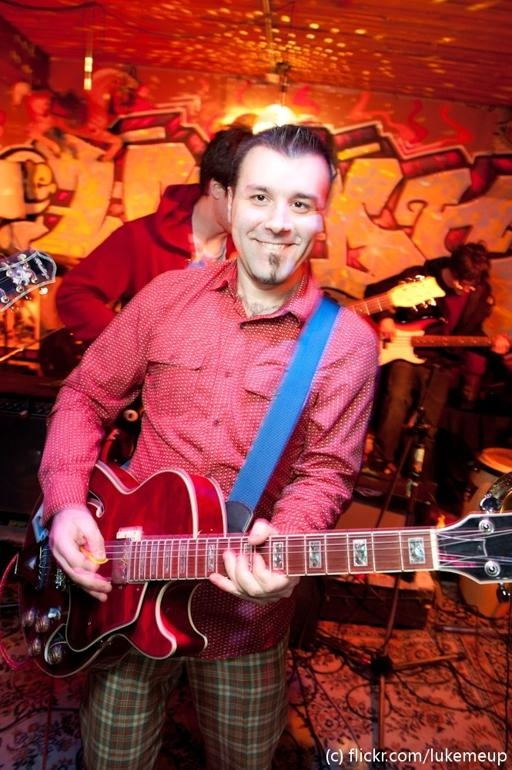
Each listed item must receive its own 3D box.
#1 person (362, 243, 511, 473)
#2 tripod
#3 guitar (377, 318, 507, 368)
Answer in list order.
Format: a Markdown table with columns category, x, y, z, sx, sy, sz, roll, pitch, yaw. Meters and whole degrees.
| category | x | y | z | sx | sy | sz | roll | pitch | yaw |
| --- | --- | --- | --- | --- | --- | --- | --- | --- | --- |
| person | 1.121 | -0.224 | 3.428 | 0.724 | 1.608 | 0.227 | 8 | 6 | 0 |
| tripod | 0.606 | 1.306 | 2.741 | 0.553 | 0.582 | 0.656 | 2 | 8 | 26 |
| guitar | 1.177 | -0.230 | 3.543 | 0.851 | 0.300 | 0.134 | 5 | 9 | -10 |
